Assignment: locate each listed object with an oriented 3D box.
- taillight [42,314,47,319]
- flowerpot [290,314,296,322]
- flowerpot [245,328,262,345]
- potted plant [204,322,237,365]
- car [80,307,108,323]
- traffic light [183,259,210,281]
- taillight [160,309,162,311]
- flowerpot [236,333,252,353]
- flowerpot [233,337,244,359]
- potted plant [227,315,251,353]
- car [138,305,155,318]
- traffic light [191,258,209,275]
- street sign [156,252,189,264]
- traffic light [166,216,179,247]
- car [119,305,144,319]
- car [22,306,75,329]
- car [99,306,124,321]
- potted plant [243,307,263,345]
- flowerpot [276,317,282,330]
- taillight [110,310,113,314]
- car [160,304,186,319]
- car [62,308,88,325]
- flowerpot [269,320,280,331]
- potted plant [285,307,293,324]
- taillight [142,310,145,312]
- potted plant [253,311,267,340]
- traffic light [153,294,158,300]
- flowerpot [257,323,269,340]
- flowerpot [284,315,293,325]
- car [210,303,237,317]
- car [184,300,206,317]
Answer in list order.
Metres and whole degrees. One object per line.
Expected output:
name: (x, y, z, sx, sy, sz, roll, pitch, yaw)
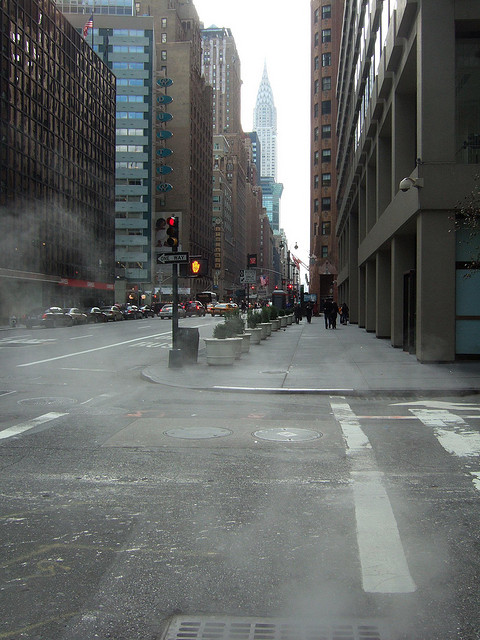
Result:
taillight: (-14.320, -0.283, 43.125, 0.184, 0.516, 0.232, 0, -4, 1)
flowerpot: (5.239, -0.159, 57.772, 0.439, 0.677, 1.034, -1, -20, 8)
flowerpot: (0.627, 0.738, 25.310, 0.496, 0.567, 0.616, -1, 0, 14)
potted plant: (-0.500, 0.708, 17.680, 0.828, 1.188, 1.200, 0, 2, 11)
car: (-13.333, -0.427, 53.960, 0.894, 1.089, 2.645, 0, 4, 6)
traffic light: (-1.252, -1.464, 16.678, 0.682, 0.502, 1.768, 0, 2, -5)
taillight: (-9.825, -1.259, 73.599, 0.275, 0.238, 0.337, 2, -2, 18)
flowerpot: (0.240, 0.854, 21.544, 0.425, 0.494, 0.535, -1, 1, 4)
flowerpot: (-0.035, 0.917, 18.518, 0.378, 0.455, 0.472, 0, 3, 12)
potted plant: (0.078, 0.508, 20.916, 0.835, 1.563, 1.027, 0, -2, -9)
car: (-11.315, -1.108, 71.441, 1.111, 1.382, 3.276, 0, 6, 9)
traffic light: (-1.122, -1.512, 16.457, 0.375, 0.557, 0.425, -1, 4, -9)
street sign: (-1.931, -1.788, 16.797, 1.051, 0.353, 0.546, 2, 3, 36)
traffic light: (-1.829, -2.463, 15.979, 0.314, 0.837, 0.541, 0, 2, -11)
car: (-12.032, -0.898, 65.546, 1.018, 1.212, 2.851, 0, 5, 7)
car: (-14.485, -0.163, 44.922, 1.663, 1.550, 4.367, 0, 2, 17)
car: (-12.673, -0.680, 58.886, 0.922, 1.132, 2.746, 0, 4, 6)
potted plant: (0.635, 0.277, 25.536, 0.894, 1.923, 1.117, -1, -3, -5)
flowerpot: (2.796, 0.199, 40.340, 0.484, 0.559, 0.608, 0, 2, 8)
taillight: (-12.598, -0.774, 57.866, 0.161, 0.309, 0.404, 1, 2, 25)
car: (-7.524, -0.988, 65.508, 2.577, 1.535, 8.795, 0, 2, -8)
car: (-13.701, -0.362, 49.909, 0.822, 1.026, 2.458, 0, 0, 8)
flowerpot: (2.257, 0.337, 36.751, 0.420, 0.599, 0.600, 1, 4, 13)
potted plant: (4.110, -0.320, 48.642, 0.789, 1.188, 0.984, 0, 1, 12)
taillight: (-11.319, -1.087, 69.293, 0.185, 0.278, 0.231, 1, -1, 10)
potted plant: (1.054, 0.199, 28.636, 0.841, 1.416, 0.924, 0, -1, -5)
traffic light: (-15.632, -4.326, 110.368, 0.527, 0.828, 2.411, -1, 2, -13)
flowerpot: (1.204, 0.527, 29.077, 0.527, 0.565, 0.537, 0, -2, -39)
flowerpot: (4.220, -0.016, 48.989, 0.537, 0.567, 0.567, -2, 3, -35)
car: (-1.682, -0.982, 55.392, 0.991, 1.078, 2.652, 0, 5, 13)
car: (-5.461, -1.375, 71.664, 2.035, 1.851, 4.615, 0, 2, 1)
